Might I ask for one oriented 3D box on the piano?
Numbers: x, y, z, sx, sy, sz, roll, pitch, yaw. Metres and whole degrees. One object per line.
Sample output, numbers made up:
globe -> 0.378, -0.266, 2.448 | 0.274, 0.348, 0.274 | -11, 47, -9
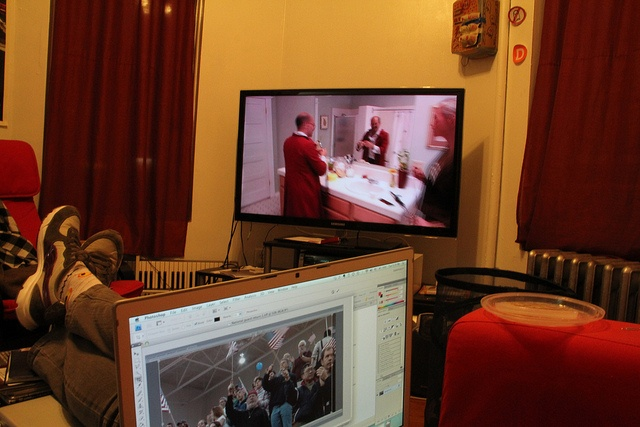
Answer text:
piano -> -1.141, 0.479, 3.865 | 0.680, 0.249, 0.103 | -4, -2, 36

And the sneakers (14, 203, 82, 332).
sneakers -> -1.330, 0.270, 2.376 | 0.239, 0.636, 0.190 | -12, -38, 20
